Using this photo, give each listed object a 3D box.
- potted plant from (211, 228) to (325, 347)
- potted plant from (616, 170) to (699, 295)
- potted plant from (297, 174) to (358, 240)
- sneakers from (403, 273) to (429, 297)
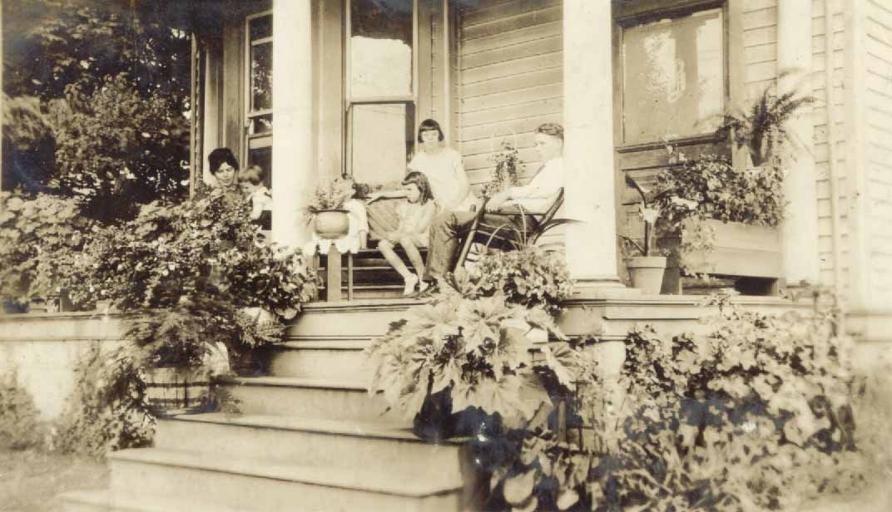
[{"bbox_3d":[-1.973,0.370,9.677,1.090,1.217,0.382,1,-1,-15],"label":"potted plant"},{"bbox_3d":[2.106,-0.159,9.382,0.866,1.074,0.807,-8,9,-41],"label":"potted plant"},{"bbox_3d":[-1.337,-0.522,10.397,0.717,0.787,0.644,0,-13,1],"label":"potted plant"},{"bbox_3d":[-0.360,0.320,9.768,0.438,0.183,0.147,-11,-3,-28],"label":"sneakers"}]
